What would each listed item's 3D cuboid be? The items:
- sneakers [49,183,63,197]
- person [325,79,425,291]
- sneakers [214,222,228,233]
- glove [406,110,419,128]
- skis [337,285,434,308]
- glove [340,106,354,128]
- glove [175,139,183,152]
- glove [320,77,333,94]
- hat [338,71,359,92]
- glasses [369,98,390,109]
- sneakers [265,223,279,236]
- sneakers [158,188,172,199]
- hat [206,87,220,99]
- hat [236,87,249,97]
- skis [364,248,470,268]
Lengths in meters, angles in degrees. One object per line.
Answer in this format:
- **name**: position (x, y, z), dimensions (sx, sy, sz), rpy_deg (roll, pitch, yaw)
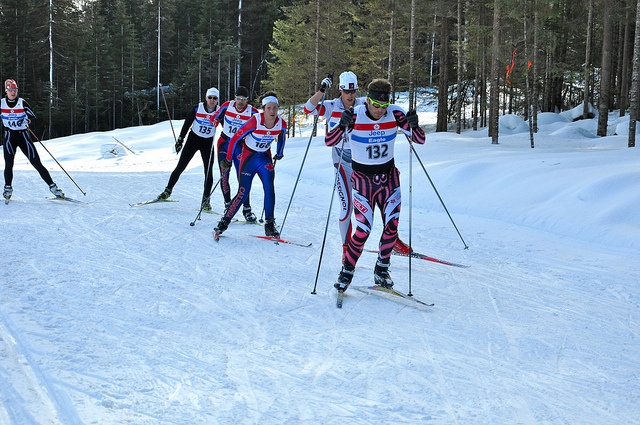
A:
- **sneakers**: position (-6.467, -0.628, 15.039), dimensions (0.225, 0.279, 0.276), rpy_deg (-46, -5, -26)
- **person**: position (0.834, -0.495, 9.998), dimensions (1.213, 3.466, 0.745), rpy_deg (-1, 12, -1)
- **sneakers**: position (-1.943, 0.248, 12.136), dimensions (0.270, 0.119, 0.195), rpy_deg (-26, 33, -19)
- **glove**: position (1.517, -1.612, 9.993), dimensions (0.173, 0.273, 0.092), rpy_deg (0, 12, 30)
- **skis**: position (1.030, 1.384, 9.970), dimensions (1.369, 0.138, 0.193), rpy_deg (9, 5, 32)
- **glove**: position (0.427, -1.611, 9.915), dimensions (0.231, 0.307, 0.361), rpy_deg (0, 11, 3)
- **glove**: position (-3.263, -1.657, 14.300), dimensions (0.239, 0.300, 0.122), rpy_deg (21, 14, 34)
- **glove**: position (0.116, -2.368, 10.797), dimensions (0.142, 0.115, 0.382), rpy_deg (30, 42, -6)
- **hat**: position (0.490, -2.433, 10.850), dimensions (0.302, 0.263, 0.362), rpy_deg (-4, 8, -8)
- **glasses**: position (0.947, -1.874, 9.907), dimensions (0.323, 0.168, 0.179), rpy_deg (-1, 11, -1)
- **sneakers**: position (-0.982, 0.310, 12.318), dimensions (0.306, 0.279, 0.199), rpy_deg (-2, 3, 20)
- **sneakers**: position (-3.690, -0.514, 14.649), dimensions (0.345, 0.154, 0.215), rpy_deg (-26, 30, 8)
- **hat**: position (-2.462, -2.899, 14.068), dimensions (0.225, 0.189, 0.265), rpy_deg (0, 10, -6)
- **hat**: position (-1.662, -2.731, 13.218), dimensions (0.220, 0.239, 0.283), rpy_deg (8, 26, -3)
- **skis**: position (1.757, 0.823, 11.205), dimensions (1.720, 0.188, 0.100), rpy_deg (13, 13, 25)
